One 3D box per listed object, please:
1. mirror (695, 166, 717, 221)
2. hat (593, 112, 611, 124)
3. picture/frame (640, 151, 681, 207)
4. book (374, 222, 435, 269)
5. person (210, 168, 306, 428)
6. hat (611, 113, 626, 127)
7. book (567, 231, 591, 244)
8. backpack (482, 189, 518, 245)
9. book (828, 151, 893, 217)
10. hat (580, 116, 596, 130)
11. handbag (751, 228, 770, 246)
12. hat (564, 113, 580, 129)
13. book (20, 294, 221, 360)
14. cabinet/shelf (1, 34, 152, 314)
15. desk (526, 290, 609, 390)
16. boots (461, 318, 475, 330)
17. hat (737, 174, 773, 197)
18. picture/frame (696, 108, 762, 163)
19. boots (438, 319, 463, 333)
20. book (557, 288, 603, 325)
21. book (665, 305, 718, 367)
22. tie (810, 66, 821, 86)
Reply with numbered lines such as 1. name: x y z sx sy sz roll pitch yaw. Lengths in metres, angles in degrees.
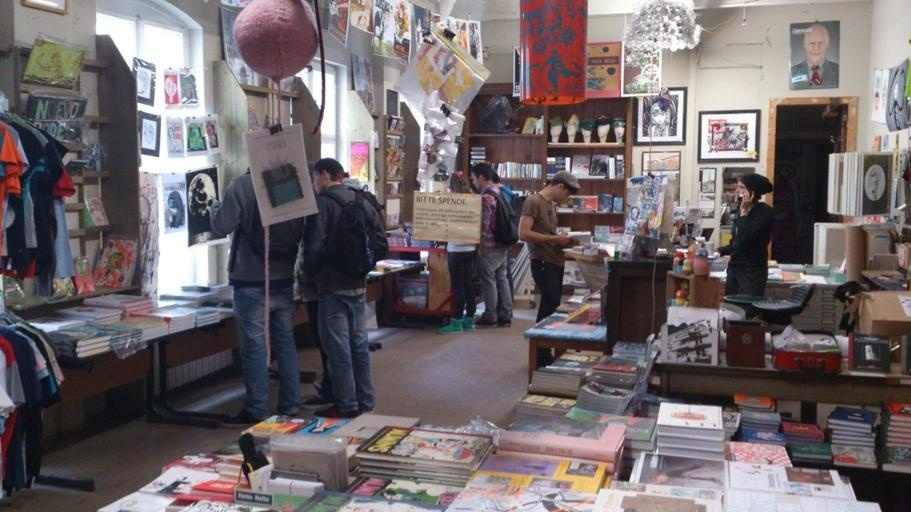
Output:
1. mirror: 4.380 -1.099 11.484 0.329 0.869 0.168 2 11 16
2. hat: 2.666 -2.510 12.002 0.250 0.249 0.247 7 16 31
3. picture/frame: 3.640 -1.392 11.704 0.645 0.913 0.350 9 15 43
4. book: -0.672 -0.147 10.038 0.624 0.400 0.895 1 6 14
5. person: -1.869 0.444 6.461 0.821 2.467 0.505 -5 11 -20
6. hat: 2.917 -2.429 11.862 0.270 0.226 0.255 -2 7 -10
7. book: 1.961 -0.303 10.459 0.416 0.145 0.399 -1 3 14
8. backpack: 0.593 -0.530 9.174 0.506 0.823 0.619 -5 15 11
9. book: 4.815 -0.830 8.158 0.992 0.867 0.704 0 2 19
10. hat: 2.390 -2.386 11.960 0.273 0.239 0.204 -2 11 -5
11. handbag: 3.327 -0.211 7.234 0.196 0.161 0.044 2 5 -16
12. hat: 2.129 -2.430 12.009 0.226 0.287 0.108 11 4 16
13. book: -3.081 0.624 6.272 0.735 0.415 1.436 9 15 43
14. cabinet/shelf: -3.408 -0.872 6.409 0.704 2.483 0.445 -7 12 -29
15. desk: 1.372 0.880 7.125 0.716 0.598 1.928 1 9 23
16. boots: 0.189 0.989 9.623 0.130 0.128 0.214 1 6 -5
17. hat: 3.335 -0.806 7.450 0.347 0.239 0.268 9 30 42
18. picture/frame: 4.731 -2.089 11.340 1.049 0.881 0.077 1 3 13
19. boots: -0.038 1.008 9.613 0.442 0.218 0.148 2 2 1
20. book: 1.329 0.550 7.079 0.449 0.101 0.458 0 10 8
21. book: 1.829 0.586 5.273 0.459 0.413 0.430 4 13 19
22. tie: 5.948 -2.972 10.922 0.196 0.299 0.077 3 2 13
